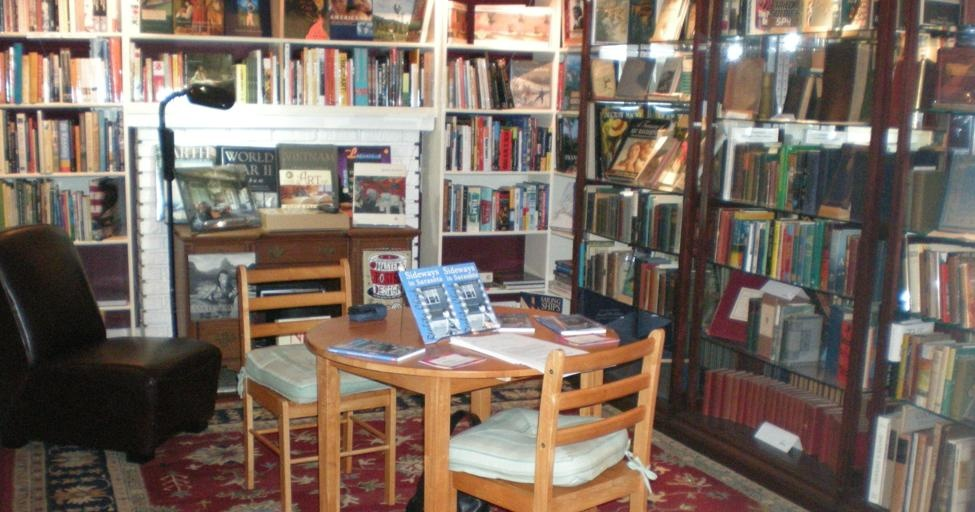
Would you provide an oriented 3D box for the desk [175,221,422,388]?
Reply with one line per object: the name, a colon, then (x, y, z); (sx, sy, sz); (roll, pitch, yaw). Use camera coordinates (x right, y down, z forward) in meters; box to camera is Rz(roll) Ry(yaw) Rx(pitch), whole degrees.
desk: (-1.445, 0.347, 5.989); (1.484, 0.768, 0.433); (-4, 12, -20)
